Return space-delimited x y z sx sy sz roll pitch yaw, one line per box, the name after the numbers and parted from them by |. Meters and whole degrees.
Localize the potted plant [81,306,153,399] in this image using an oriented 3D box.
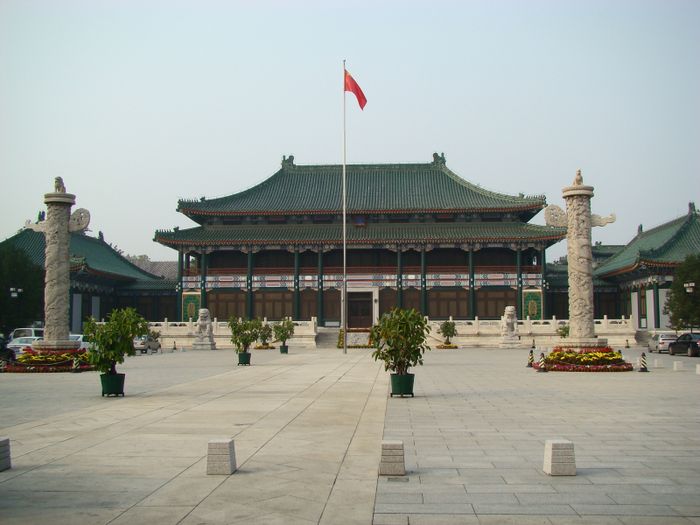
-6.230 2.330 21.519 1.442 2.293 1.033 -4 -8 29 | potted plant

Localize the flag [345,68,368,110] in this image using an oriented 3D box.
0.217 -9.248 43.303 1.040 4.201 0.230 1 -50 -7 | flag

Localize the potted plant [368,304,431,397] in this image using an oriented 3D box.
1.317 2.341 21.567 1.366 2.307 1.105 -2 -7 19 | potted plant

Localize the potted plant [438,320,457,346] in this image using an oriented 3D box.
5.956 4.341 50.992 1.485 1.765 1.289 2 -8 -4 | potted plant
